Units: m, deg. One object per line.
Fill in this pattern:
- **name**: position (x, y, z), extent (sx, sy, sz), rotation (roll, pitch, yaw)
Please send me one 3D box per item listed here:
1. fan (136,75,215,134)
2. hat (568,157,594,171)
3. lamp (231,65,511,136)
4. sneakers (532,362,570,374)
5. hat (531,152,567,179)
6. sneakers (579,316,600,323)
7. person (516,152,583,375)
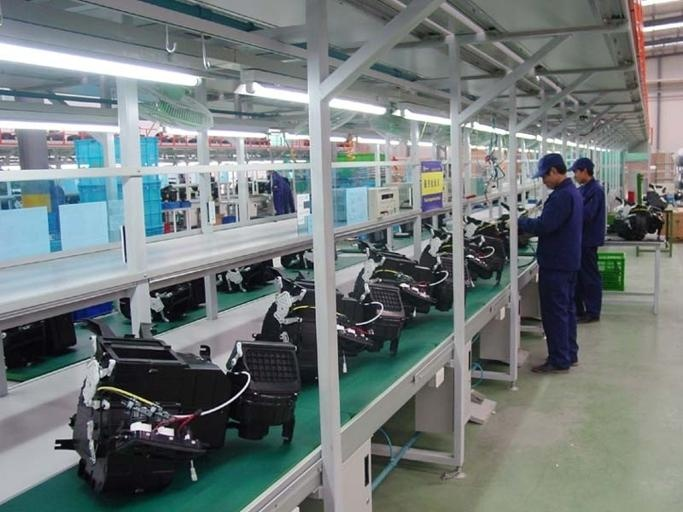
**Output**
- **fan**: position (-1.090, -0.974, 3.488), extent (0.684, 0.246, 0.157), rotation (18, 25, 19)
- **hat**: position (2.904, -1.088, 6.228), extent (0.262, 0.128, 0.187), rotation (8, 12, 26)
- **lamp**: position (0.366, -1.236, 4.565), extent (0.806, 0.177, 4.098), rotation (2, 11, 26)
- **sneakers**: position (2.053, 1.105, 5.068), extent (0.366, 0.132, 0.128), rotation (2, 3, 20)
- **hat**: position (1.999, -0.860, 4.994), extent (0.327, 0.156, 0.207), rotation (-2, 17, 31)
- **sneakers**: position (3.145, 0.810, 6.538), extent (0.282, 0.102, 0.089), rotation (-3, 7, 6)
- **person**: position (2.031, 0.088, 5.005), extent (0.540, 2.109, 0.503), rotation (1, 12, 23)
